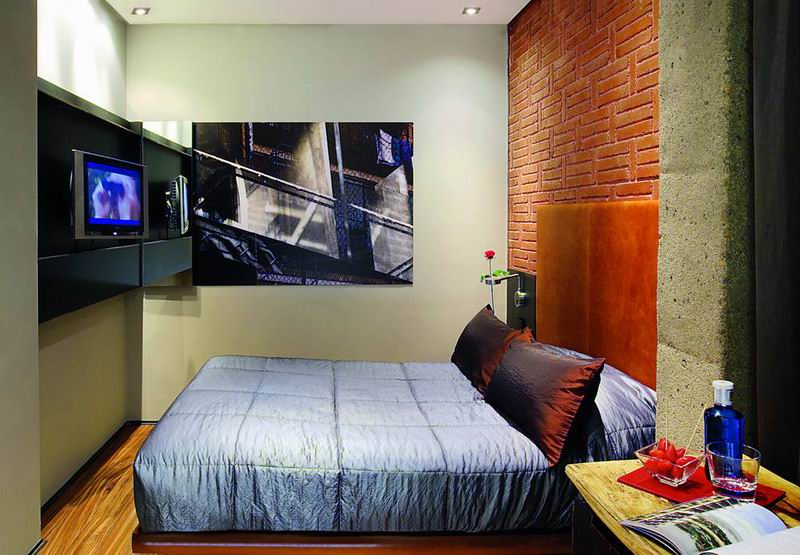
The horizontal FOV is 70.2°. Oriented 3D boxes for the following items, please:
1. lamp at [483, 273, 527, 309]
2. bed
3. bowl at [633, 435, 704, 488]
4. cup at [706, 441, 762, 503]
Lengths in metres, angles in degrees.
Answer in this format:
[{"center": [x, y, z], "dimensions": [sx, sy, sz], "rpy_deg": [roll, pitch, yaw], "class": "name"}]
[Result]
[{"center": [0.850, 0.127, 4.566], "dimensions": [0.333, 0.290, 0.156], "rpy_deg": [-6, 8, -4], "class": "lamp"}, {"center": [0.354, 0.266, 3.342], "dimensions": [1.972, 1.354, 2.106], "rpy_deg": [-1, 4, 1], "class": "bed"}, {"center": [1.011, 0.690, 2.117], "dimensions": [0.244, 0.130, 0.269], "rpy_deg": [-1, 3, 31], "class": "bowl"}, {"center": [1.141, 0.664, 1.992], "dimensions": [0.149, 0.150, 0.179], "rpy_deg": [-1, 6, -9], "class": "cup"}]
